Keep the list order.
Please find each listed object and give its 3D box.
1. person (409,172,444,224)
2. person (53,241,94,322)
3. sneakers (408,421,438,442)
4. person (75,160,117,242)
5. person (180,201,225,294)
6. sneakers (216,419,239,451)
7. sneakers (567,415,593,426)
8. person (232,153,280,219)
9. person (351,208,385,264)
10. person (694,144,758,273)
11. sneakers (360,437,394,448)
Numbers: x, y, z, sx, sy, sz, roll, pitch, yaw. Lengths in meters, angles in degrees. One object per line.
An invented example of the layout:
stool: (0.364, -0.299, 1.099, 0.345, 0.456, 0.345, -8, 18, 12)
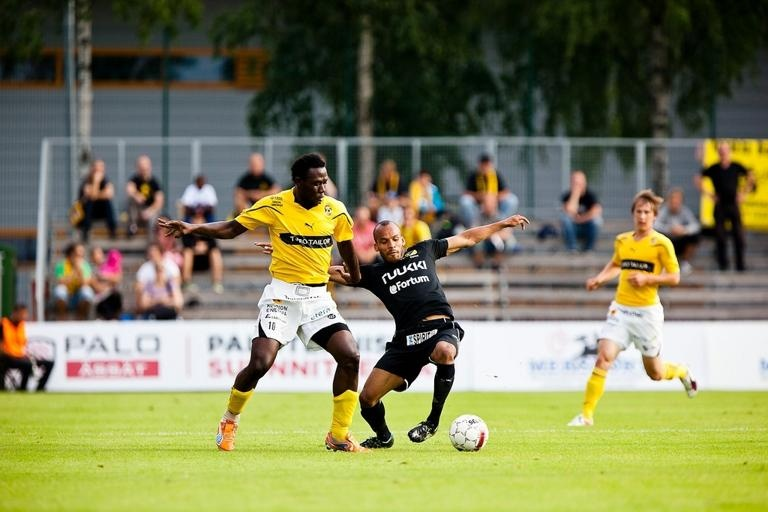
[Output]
person: (0.932, -1.265, 30.473, 0.358, 1.039, 0.751, -7, 26, 47)
person: (-6.341, 0.469, 28.796, 0.823, 1.538, 0.268, -3, 2, -14)
sneakers: (0.599, 2.778, 22.459, 0.548, 0.239, 0.264, -18, 9, -27)
person: (-5.987, -1.172, 29.171, 0.619, 1.642, 2.215, -2, 3, -5)
person: (-3.738, -0.223, 28.777, 0.893, 1.476, 2.540, -4, 48, -8)
sneakers: (-2.468, 2.798, 22.373, 0.207, 0.290, 0.613, 7, 7, -16)
sneakers: (3.307, 2.727, 23.701, 0.429, 0.204, 0.182, 1, -1, 10)
person: (-2.833, -1.577, 30.361, 1.287, 2.070, 1.172, -1, 3, -10)
person: (-0.443, -0.505, 29.948, 0.733, 1.061, 0.304, -2, 13, 21)
person: (7.422, -1.058, 30.474, 1.236, 2.723, 0.855, -4, 3, -37)
sneakers: (-0.112, 2.948, 22.511, 0.515, 0.229, 0.198, 6, -4, -3)
